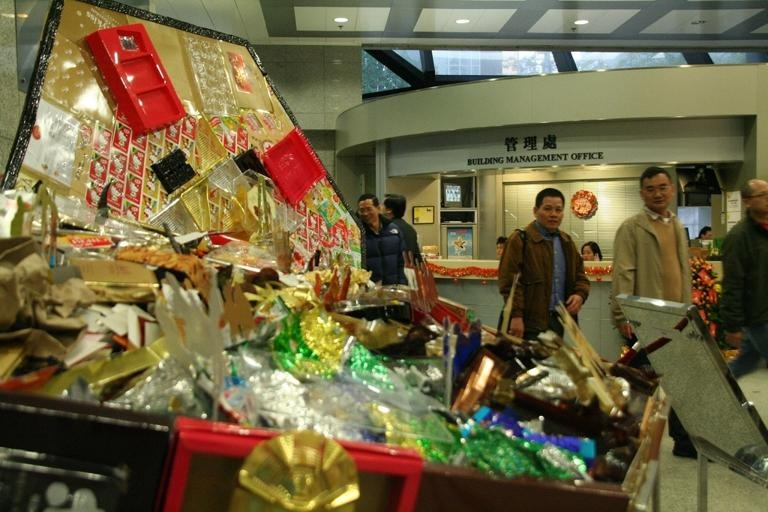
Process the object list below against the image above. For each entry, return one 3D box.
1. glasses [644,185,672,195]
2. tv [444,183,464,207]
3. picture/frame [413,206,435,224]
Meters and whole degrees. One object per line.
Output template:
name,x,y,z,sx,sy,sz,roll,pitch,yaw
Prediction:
glasses,1.426,-0.331,2.887,0.077,0.054,0.095,1,-6,11
tv,1.184,-1.042,9.463,0.431,0.536,0.277,-1,3,-23
picture/frame,0.662,-0.691,9.228,0.306,0.243,0.043,0,1,3
